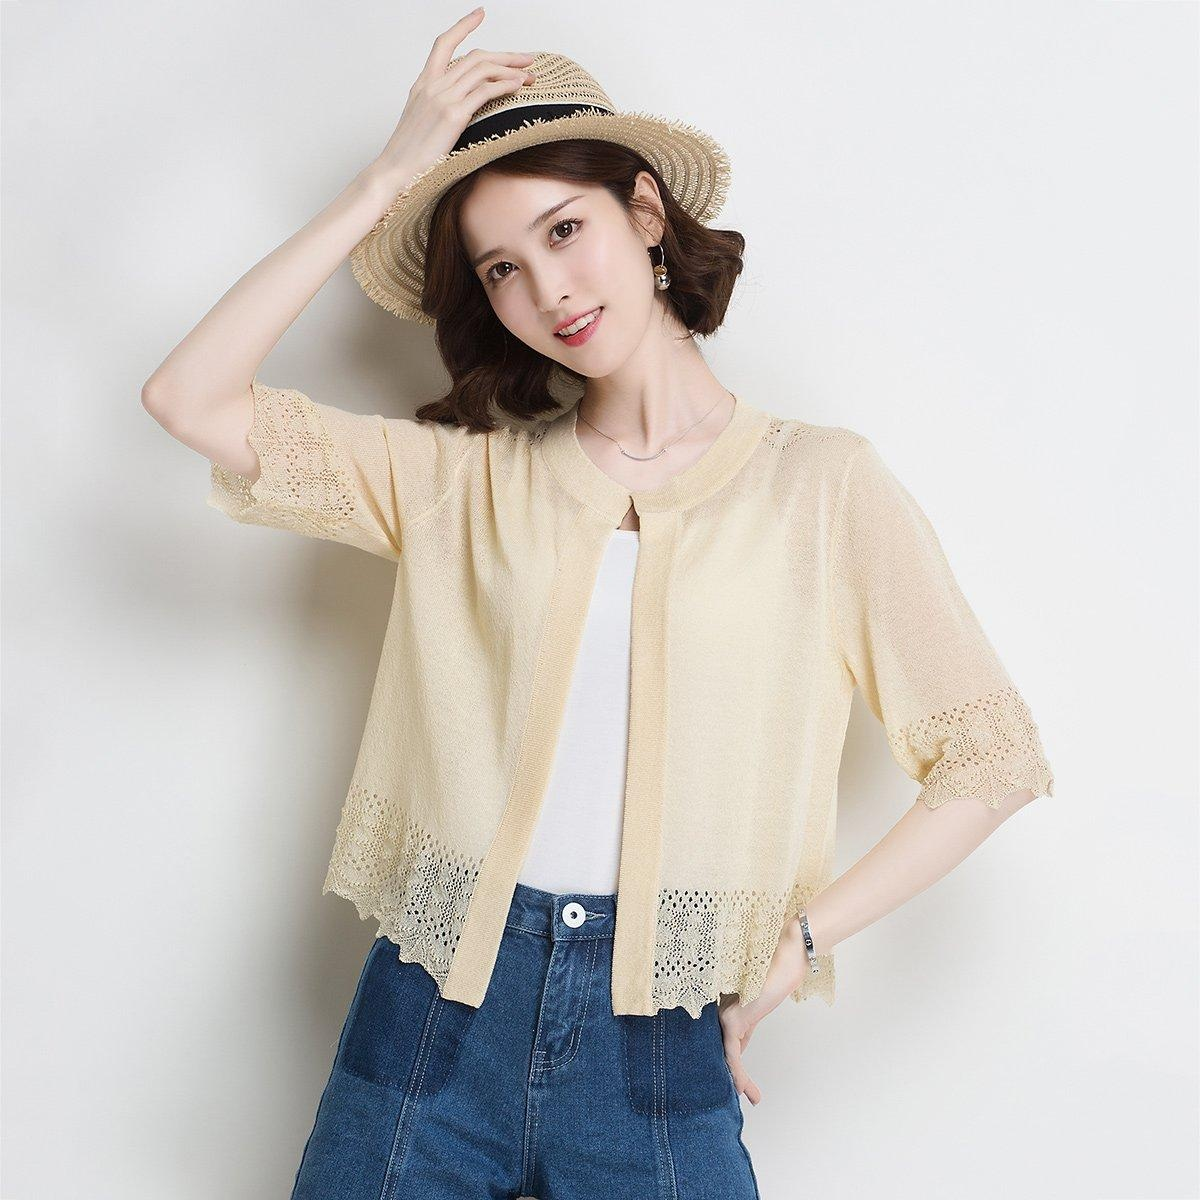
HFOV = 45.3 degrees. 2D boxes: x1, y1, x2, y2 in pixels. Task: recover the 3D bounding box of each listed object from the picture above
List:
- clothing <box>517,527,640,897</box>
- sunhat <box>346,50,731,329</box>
[{"bbox_3d":[-0.011,0.157,1.934,0.121,0.485,0.016,5,-8,18],"label":"clothing"},{"bbox_3d":[-0.088,-0.502,2.121,0.433,0.253,0.452,-27,-12,15],"label":"sunhat"}]
